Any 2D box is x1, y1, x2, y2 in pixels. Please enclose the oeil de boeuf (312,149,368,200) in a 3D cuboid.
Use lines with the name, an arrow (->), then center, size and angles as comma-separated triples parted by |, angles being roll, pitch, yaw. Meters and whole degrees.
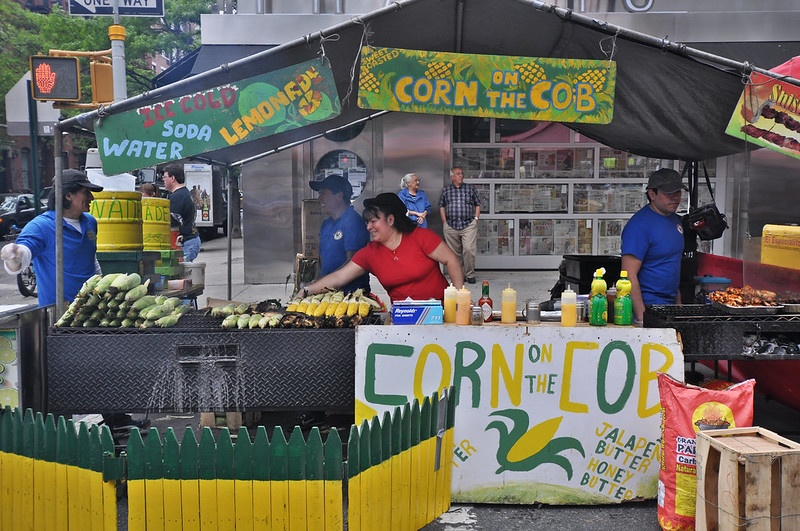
oeil de boeuf -> -1.102, -1.709, 18.428 | 1.070, 1.133, 0.267 | 9, 14, -6

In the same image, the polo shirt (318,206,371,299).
polo shirt -> -0.710, -0.162, 13.467 | 0.640, 1.312, 1.074 | 2, -4, -33

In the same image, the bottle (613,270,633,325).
bottle -> 2.635, 0.371, 12.056 | 0.195, 0.619, 0.295 | 1, 2, 15

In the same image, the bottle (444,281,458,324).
bottle -> 0.602, 0.450, 12.071 | 0.164, 0.409, 0.215 | 1, 2, 2

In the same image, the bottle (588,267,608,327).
bottle -> 2.329, 0.356, 11.990 | 0.193, 0.651, 0.174 | 1, 2, 12

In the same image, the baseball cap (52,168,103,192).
baseball cap -> -4.004, -1.077, 12.831 | 0.407, 0.220, 0.262 | 3, 4, -18

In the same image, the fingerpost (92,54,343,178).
fingerpost -> -2.211, -1.790, 12.109 | 2.666, 1.358, 0.208 | 1, 2, 0

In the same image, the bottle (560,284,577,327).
bottle -> 1.965, 0.488, 11.892 | 0.158, 0.408, 0.155 | 1, 2, 0

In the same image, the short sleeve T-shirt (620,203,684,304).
short sleeve T-shirt -> 3.183, -0.130, 12.877 | 0.576, 1.332, 1.237 | 4, 12, 43

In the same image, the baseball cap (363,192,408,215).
baseball cap -> -0.229, -0.783, 12.678 | 0.315, 0.142, 0.340 | 3, 3, -34

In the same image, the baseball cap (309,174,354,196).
baseball cap -> -0.973, -1.143, 13.971 | 0.478, 0.186, 0.316 | 7, 3, 19

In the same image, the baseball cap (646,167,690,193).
baseball cap -> 3.351, -1.060, 12.780 | 0.292, 0.234, 0.384 | -1, 1, -25
